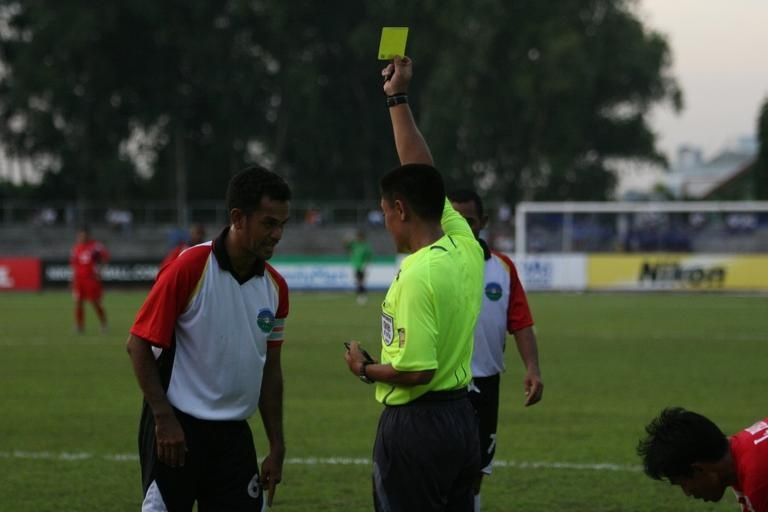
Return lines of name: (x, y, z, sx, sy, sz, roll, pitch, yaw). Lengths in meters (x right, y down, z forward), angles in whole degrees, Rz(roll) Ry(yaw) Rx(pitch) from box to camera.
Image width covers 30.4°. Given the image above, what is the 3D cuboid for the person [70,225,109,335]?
person: (-3.796, 0.348, 18.167, 0.380, 1.343, 2.016, -1, 1, -10)
